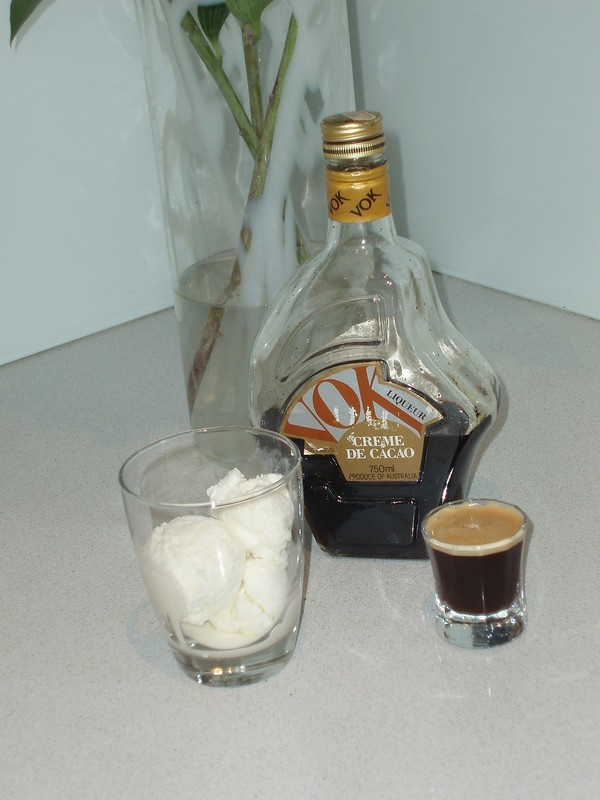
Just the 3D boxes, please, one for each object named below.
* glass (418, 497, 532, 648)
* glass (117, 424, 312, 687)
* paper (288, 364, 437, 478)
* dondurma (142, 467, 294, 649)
[{"bbox_3d":[0.086,0.088,0.398,0.065,0.078,0.047,0,31,6],"label":"glass"},{"bbox_3d":[-0.033,0.075,0.413,0.104,0.128,0.097,-20,36,-38],"label":"glass"},{"bbox_3d":[0.035,0.014,0.432,0.090,0.072,0.023,-2,39,5],"label":"paper"},{"bbox_3d":[-0.036,0.092,0.389,0.085,0.082,0.080,-6,-1,-18],"label":"dondurma"}]
